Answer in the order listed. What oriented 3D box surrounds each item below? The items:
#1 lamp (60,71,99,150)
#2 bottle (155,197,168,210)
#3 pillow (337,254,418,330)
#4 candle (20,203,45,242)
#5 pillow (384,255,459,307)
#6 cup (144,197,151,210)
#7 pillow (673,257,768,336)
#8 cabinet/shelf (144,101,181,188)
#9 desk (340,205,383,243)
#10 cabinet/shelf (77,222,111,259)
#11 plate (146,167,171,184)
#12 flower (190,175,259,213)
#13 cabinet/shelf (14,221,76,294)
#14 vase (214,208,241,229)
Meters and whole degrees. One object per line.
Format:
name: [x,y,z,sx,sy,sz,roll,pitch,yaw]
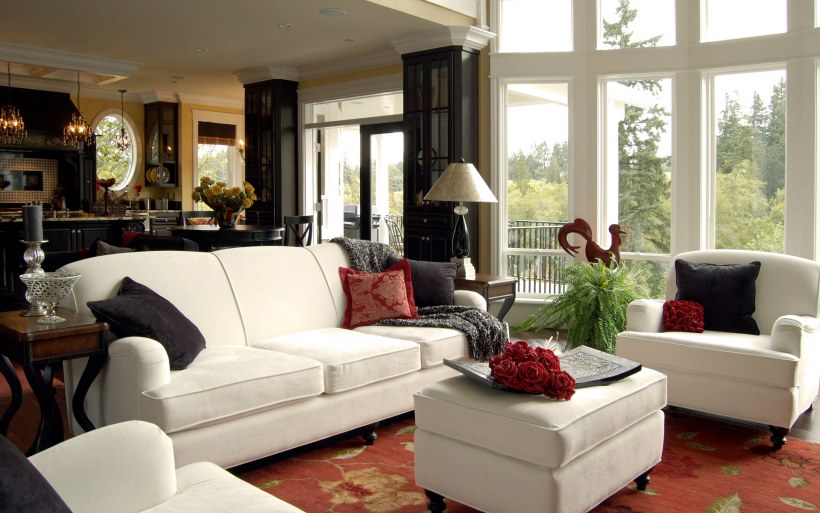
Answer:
lamp: [-5.912,-2.491,10.175,0.489,1.235,1.620,-5,8,-29]
bottle: [-5.041,-1.049,11.668,0.246,0.243,0.234,3,6,12]
pillow: [-0.273,0.344,4.774,0.575,0.514,0.173,-3,-23,-10]
candle: [-2.445,-0.201,3.716,0.100,0.240,0.211,-6,9,-34]
pillow: [0.088,0.238,4.992,0.451,0.287,0.151,3,-15,3]
cup: [-5.308,-1.028,11.584,0.111,0.195,0.245,-4,8,-25]
pillow: [2.527,0.353,4.649,0.634,0.548,0.230,0,-11,30]
cabinet/shelf: [-5.104,-2.184,11.666,0.761,1.603,0.476,3,8,-1]
desk: [-0.813,-0.537,9.358,0.700,0.813,0.641,4,6,41]
cabinet/shelf: [-4.926,-0.237,8.819,0.511,0.455,0.505,9,10,35]
plate: [-5.153,-1.586,11.702,0.292,0.392,0.337,-14,-4,33]
flower: [-2.319,-0.690,7.235,0.620,0.309,0.545,8,9,-12]
cabinet/shelf: [-2.454,-0.042,3.737,0.199,0.445,0.188,-1,5,-28]
vase: [-2.293,-0.461,7.243,0.295,0.182,0.267,2,-3,-3]
